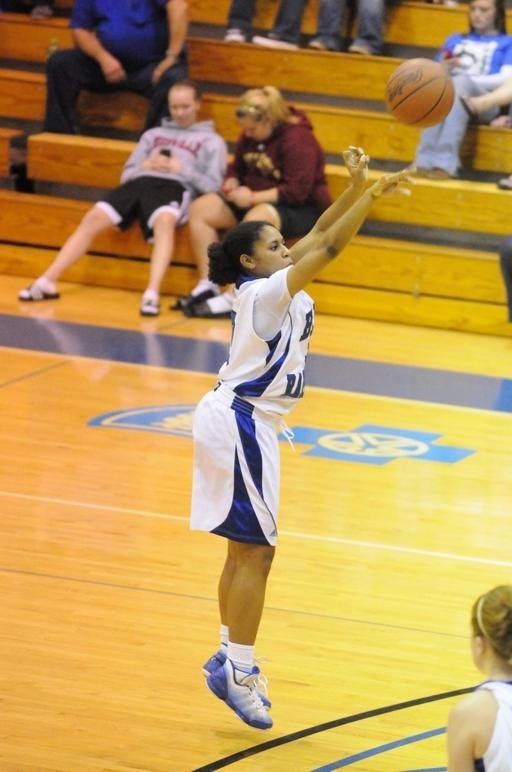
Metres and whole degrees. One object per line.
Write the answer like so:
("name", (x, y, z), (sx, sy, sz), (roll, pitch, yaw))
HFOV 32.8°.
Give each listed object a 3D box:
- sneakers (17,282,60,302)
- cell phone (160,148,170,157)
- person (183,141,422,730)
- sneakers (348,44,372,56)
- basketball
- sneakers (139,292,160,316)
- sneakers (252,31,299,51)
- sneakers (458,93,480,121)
("sneakers", (-1.252, -0.545, 5.041), (0.211, 0.085, 0.102), (1, 2, -23))
("cell phone", (-0.539, -1.398, 5.211), (0.064, 0.053, 0.103), (0, 16, -12))
("person", (0.006, 0.080, 1.831), (0.367, 1.136, 0.642), (13, 22, 6))
("sneakers", (0.666, -2.150, 5.555), (0.139, 0.048, 0.095), (13, 30, 25))
("basketball", (0.568, -1.010, 2.997), (0.226, 0.221, 0.172), (11, 21, 4))
("sneakers", (-0.597, -0.457, 4.917), (0.135, 0.123, 0.311), (0, 8, -7))
("sneakers", (0.132, -2.280, 5.727), (0.259, 0.047, 0.126), (9, -11, -4))
("sneakers", (1.236, -1.618, 5.061), (0.079, 0.171, 0.059), (-21, 3, -11))
